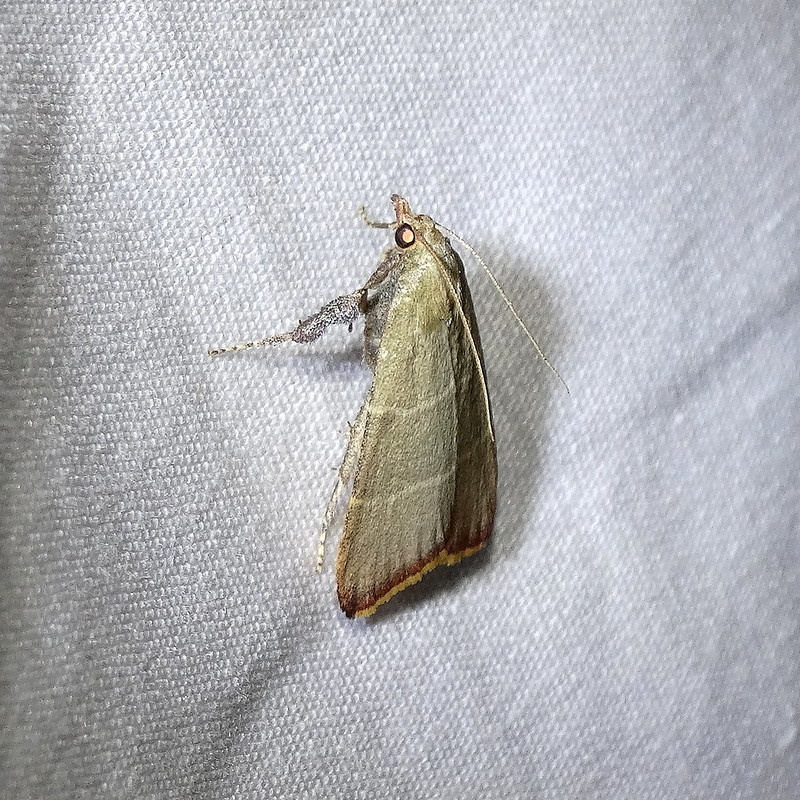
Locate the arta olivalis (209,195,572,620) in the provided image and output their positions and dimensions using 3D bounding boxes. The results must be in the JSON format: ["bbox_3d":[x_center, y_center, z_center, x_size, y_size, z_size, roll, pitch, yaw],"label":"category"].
[{"bbox_3d":[-0.021,0.024,1.146,0.248,0.476,0.218,4,3,-11],"label":"arta olivalis"}]
